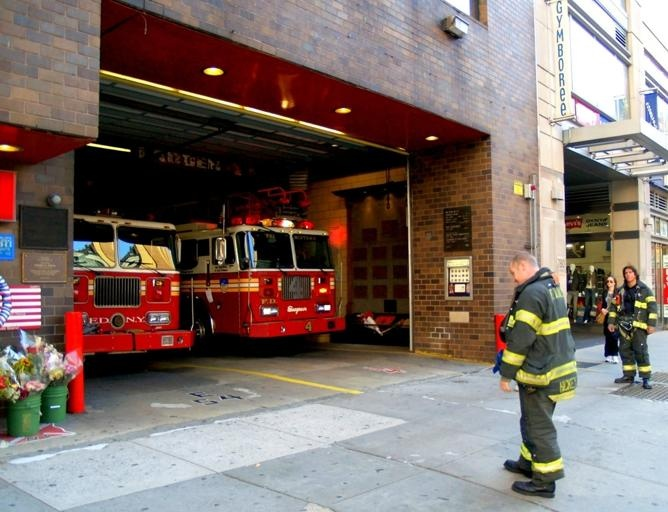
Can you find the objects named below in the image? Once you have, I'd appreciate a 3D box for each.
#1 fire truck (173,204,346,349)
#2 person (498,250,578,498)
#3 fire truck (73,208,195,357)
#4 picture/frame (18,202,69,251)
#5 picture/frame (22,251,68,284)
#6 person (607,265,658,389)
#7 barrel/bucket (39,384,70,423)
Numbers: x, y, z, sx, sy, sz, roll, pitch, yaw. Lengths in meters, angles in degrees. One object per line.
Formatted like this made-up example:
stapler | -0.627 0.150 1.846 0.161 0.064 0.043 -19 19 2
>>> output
fire truck | -2.726 0.692 14.426 3.401 2.587 5.683 1 1 -44
person | 1.967 1.131 5.078 0.647 2.341 0.675 -1 -3 37
fire truck | -4.544 0.538 10.667 6.016 2.300 2.225 -1 -2 43
picture/frame | -3.980 -0.378 7.044 0.083 0.611 0.616 -2 -4 45
picture/frame | -3.974 0.163 6.997 0.541 0.319 0.074 3 -7 -43
person | 5.560 1.294 9.558 0.635 2.253 0.985 0 -3 12
barrel/bucket | -3.712 1.978 6.898 0.510 0.444 0.514 -1 -5 0
